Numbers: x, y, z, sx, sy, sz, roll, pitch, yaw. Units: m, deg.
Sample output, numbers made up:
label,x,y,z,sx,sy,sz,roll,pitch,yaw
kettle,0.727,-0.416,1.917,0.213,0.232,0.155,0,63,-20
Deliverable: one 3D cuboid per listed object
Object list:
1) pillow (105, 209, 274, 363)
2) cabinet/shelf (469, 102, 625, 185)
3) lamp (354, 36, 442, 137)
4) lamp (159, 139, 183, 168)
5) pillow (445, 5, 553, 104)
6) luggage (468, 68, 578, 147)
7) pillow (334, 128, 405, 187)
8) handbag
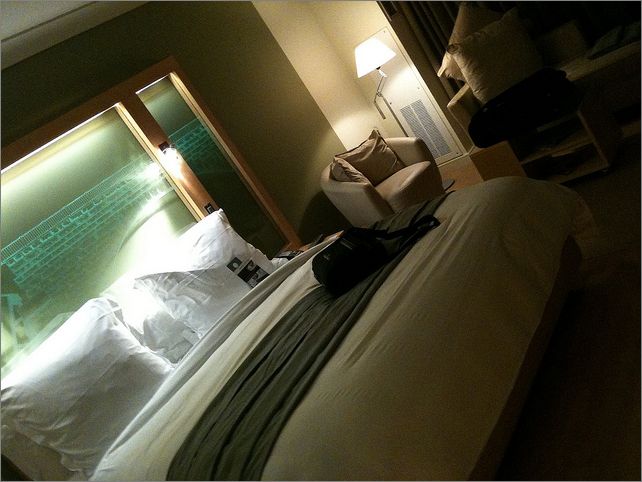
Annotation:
label,x,y,z,sx,sy,sz,roll,pitch,yaw
pillow,-0.811,0.330,2.851,0.968,0.923,0.283,-46,2,-27
cabinet/shelf,1.704,-0.658,3.116,0.836,0.425,0.621,-6,37,47
lamp,0.726,-1.610,4.548,0.399,0.733,0.661,-29,16,16
lamp,-1.165,-0.675,3.331,0.040,0.185,0.132,-13,25,45
pillow,1.299,-1.590,3.512,0.967,1.080,0.289,-2,-30,-6
luggage,1.482,-1.002,3.204,0.737,0.388,0.240,-28,4,41
pillow,0.440,-0.741,3.967,0.516,0.536,0.159,-34,-5,-15
handbag,0.286,0.069,2.249,0.569,0.187,0.352,-36,11,0
